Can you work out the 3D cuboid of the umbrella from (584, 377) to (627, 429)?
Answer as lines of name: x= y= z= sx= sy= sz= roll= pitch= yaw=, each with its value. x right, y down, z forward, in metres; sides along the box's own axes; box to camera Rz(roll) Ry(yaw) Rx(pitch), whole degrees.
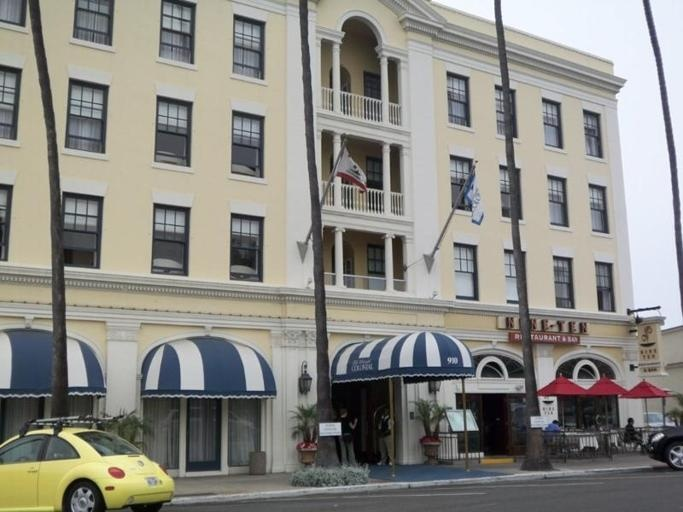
umbrella: x=11.992 y=6.529 z=33.481 sx=1.529 sy=2.310 sz=1.818 roll=-2 pitch=-6 yaw=6

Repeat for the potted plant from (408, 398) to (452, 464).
potted plant: x=3.743 y=7.724 z=31.805 sx=1.797 sy=3.654 sz=1.982 roll=-3 pitch=-17 yaw=11

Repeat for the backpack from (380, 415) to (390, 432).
backpack: x=1.803 y=6.918 z=30.237 sx=0.185 sy=0.614 sz=0.383 roll=10 pitch=-11 yaw=-39

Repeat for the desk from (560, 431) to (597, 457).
desk: x=10.130 y=8.181 z=31.913 sx=2.538 sy=1.099 sz=1.137 roll=12 pitch=-21 yaw=-39

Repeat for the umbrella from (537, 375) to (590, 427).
umbrella: x=9.884 y=6.289 z=32.516 sx=1.471 sy=1.868 sz=1.621 roll=-8 pitch=-13 yaw=38

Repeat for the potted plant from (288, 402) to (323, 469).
potted plant: x=-1.390 y=6.794 z=28.053 sx=0.939 sy=2.372 sz=1.255 roll=3 pitch=-16 yaw=-18

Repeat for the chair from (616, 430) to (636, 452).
chair: x=13.190 y=8.645 z=34.171 sx=0.787 sy=0.931 sz=2.748 roll=-9 pitch=-19 yaw=23

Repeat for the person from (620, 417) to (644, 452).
person: x=13.691 y=8.368 z=34.830 sx=0.715 sy=1.529 sz=0.806 roll=0 pitch=2 yaw=-11

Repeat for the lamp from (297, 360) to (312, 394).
lamp: x=-1.415 y=4.758 z=28.937 sx=0.561 sy=1.304 sz=0.397 roll=3 pitch=-15 yaw=-17

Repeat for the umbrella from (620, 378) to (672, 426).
umbrella: x=14.500 y=7.014 z=35.093 sx=1.967 sy=2.200 sz=2.128 roll=-3 pitch=-7 yaw=-5

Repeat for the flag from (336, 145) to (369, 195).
flag: x=0.414 y=-3.451 z=28.034 sx=1.332 sy=0.192 sz=1.615 roll=15 pitch=-59 yaw=2
